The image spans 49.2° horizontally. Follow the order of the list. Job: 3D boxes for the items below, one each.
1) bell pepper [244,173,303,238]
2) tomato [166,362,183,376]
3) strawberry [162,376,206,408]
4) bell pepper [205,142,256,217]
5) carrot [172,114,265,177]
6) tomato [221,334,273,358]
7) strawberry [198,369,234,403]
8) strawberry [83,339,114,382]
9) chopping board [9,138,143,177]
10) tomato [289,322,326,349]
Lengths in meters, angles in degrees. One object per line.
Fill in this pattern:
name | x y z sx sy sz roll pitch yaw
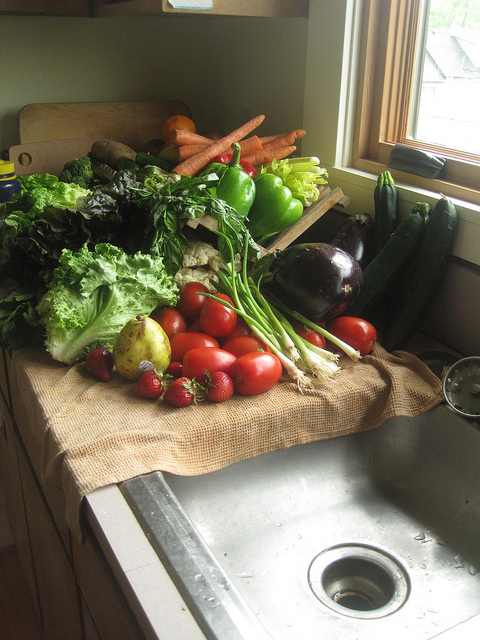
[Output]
bell pepper | 0.063 -0.211 1.048 0.114 0.121 0.123 40 5 -3
tomato | -0.096 0.072 0.781 0.020 0.022 0.019 5 10 3
strawberry | -0.075 0.100 0.719 0.056 0.048 0.044 -7 -19 0
bell pepper | -0.014 -0.268 0.992 0.088 0.126 0.165 0 25 -3
carrot | -0.051 -0.375 1.130 0.086 0.111 0.256 15 28 26
tomato | 0.010 0.036 0.809 0.060 0.034 0.036 -7 2 12
strawberry | -0.034 0.091 0.729 0.036 0.033 0.030 30 18 21
strawberry | -0.210 0.056 0.798 0.044 0.057 0.047 -38 10 -16
chopping board | -0.501 -0.458 1.474 0.270 0.091 0.054 -19 32 -36
tomato | 0.111 0.025 0.863 0.046 0.053 0.047 12 22 6
